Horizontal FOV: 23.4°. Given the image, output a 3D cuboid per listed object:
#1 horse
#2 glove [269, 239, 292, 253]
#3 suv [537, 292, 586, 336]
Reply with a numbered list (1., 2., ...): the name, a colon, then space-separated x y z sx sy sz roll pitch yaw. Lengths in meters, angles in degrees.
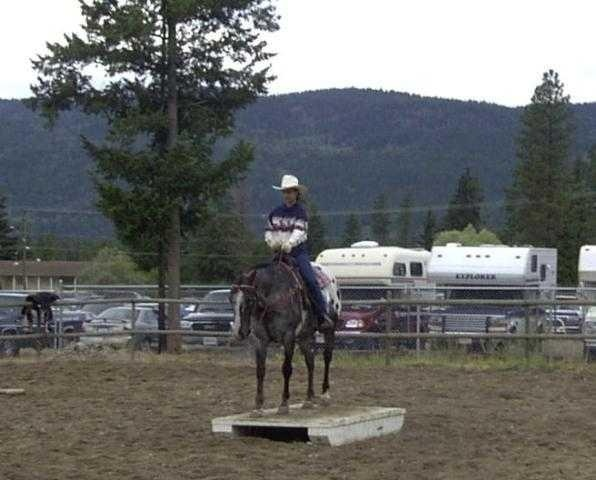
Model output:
1. horse: -0.451 2.635 40.008 1.937 4.242 3.880 0 -2 38
2. glove: -0.457 0.245 39.742 0.620 0.327 0.344 -1 -2 44
3. suv: 8.559 2.526 46.095 0.949 1.063 1.880 0 -2 34
